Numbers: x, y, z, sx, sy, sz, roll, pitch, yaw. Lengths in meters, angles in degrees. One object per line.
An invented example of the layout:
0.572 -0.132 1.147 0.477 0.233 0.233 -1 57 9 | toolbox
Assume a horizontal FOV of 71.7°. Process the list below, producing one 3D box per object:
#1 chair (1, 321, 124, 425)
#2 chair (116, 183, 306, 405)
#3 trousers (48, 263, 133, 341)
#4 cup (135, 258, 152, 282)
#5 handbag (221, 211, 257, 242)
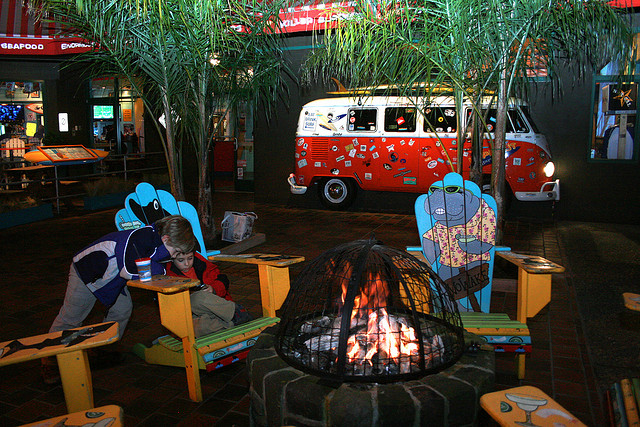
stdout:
-2.155 1.374 3.734 0.745 0.533 0.383 -7 20 -27 | chair
-1.163 0.809 4.462 1.726 1.441 1.372 1 7 44 | chair
-2.174 0.873 4.266 0.617 0.425 1.329 15 -37 -30 | trousers
-1.531 0.488 3.871 0.122 0.178 0.224 -6 11 -24 | cup
-1.519 0.224 8.272 0.473 0.618 0.440 11 5 20 | handbag
